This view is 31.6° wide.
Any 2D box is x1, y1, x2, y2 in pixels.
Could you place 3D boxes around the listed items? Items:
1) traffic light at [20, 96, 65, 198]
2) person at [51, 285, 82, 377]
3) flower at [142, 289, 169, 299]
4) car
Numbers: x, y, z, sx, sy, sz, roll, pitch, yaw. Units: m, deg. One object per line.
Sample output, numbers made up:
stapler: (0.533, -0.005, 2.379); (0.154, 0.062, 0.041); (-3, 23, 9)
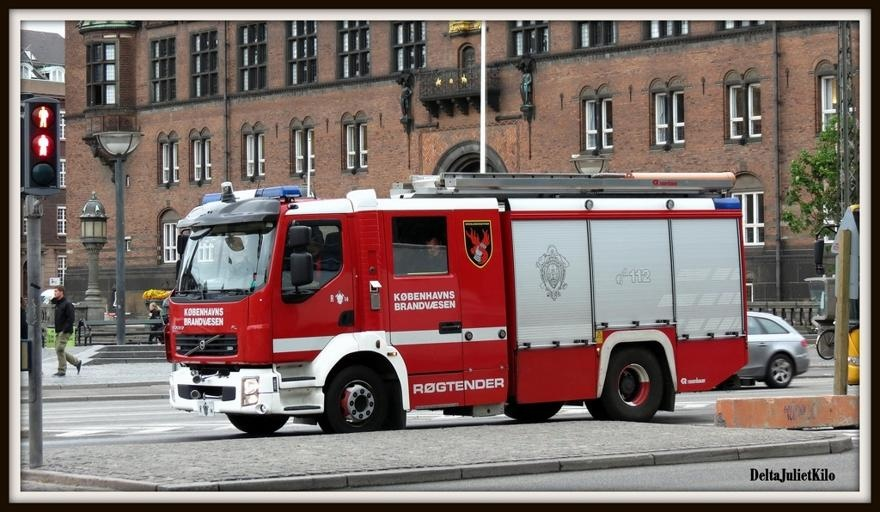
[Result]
traffic light: (-7.825, -2.169, 30.482); (0.731, 1.883, 0.518); (-2, 5, -14)
person: (-10.645, 2.103, 44.286); (0.614, 2.656, 1.351); (-2, 5, -14)
flower: (-12.086, 1.579, 66.353); (0.741, 0.257, 0.816); (0, -3, 11)
car: (9.076, 2.710, 42.307); (2.282, 2.595, 1.781); (2, -1, -1)
